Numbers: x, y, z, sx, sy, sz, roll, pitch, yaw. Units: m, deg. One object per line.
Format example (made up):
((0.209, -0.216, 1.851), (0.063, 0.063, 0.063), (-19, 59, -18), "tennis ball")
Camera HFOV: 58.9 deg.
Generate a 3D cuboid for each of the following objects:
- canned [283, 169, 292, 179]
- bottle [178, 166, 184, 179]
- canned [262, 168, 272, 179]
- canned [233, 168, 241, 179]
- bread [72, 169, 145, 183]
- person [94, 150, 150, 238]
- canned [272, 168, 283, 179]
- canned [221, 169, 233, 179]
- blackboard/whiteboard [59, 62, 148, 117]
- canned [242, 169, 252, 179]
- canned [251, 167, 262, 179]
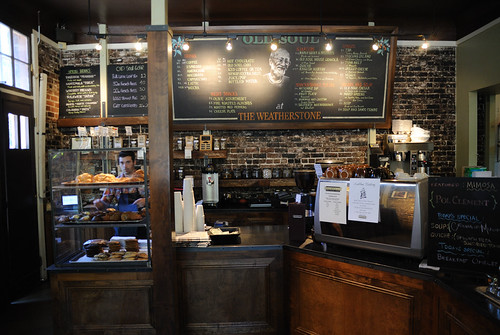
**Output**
((0.585, 0.086, 6.920), (0.143, 0.130, 0.141), (3, -2, -1), "canned")
((-1.089, 0.078, 6.992), (0.094, 0.180, 0.162), (-3, 1, -8), "bottle")
((0.270, 0.089, 6.986), (0.149, 0.136, 0.145), (2, -1, -10), "canned")
((-0.199, 0.086, 7.003), (0.141, 0.131, 0.136), (-1, -6, 12), "canned")
((-1.483, 0.095, 4.674), (0.729, 0.140, 0.058), (-2, 1, 5), "bread")
((-1.309, 0.410, 4.741), (0.592, 1.091, 0.417), (-1, 16, -6), "person")
((0.430, 0.080, 6.930), (0.155, 0.142, 0.148), (5, -7, -30), "canned")
((-0.357, 0.095, 6.934), (0.162, 0.145, 0.158), (0, 0, -1), "canned")
((-2.303, -1.246, 7.045), (1.516, 0.844, 0.028), (0, 1, 12), "blackboard/whiteboard")
((-0.047, 0.094, 6.940), (0.143, 0.129, 0.139), (-1, -5, 20), "canned")
((0.108, 0.085, 7.028), (0.131, 0.168, 0.158), (3, -7, -23), "canned")
